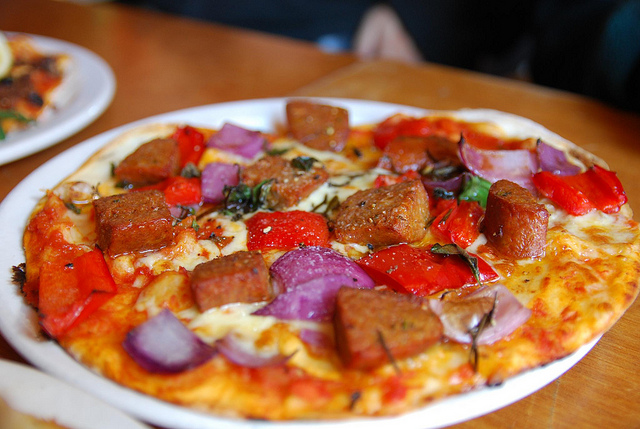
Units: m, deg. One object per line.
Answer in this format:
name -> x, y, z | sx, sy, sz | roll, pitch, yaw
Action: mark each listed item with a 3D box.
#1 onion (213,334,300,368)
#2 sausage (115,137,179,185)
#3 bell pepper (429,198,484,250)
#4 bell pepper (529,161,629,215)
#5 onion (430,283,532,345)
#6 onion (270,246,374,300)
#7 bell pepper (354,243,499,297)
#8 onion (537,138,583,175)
onion -> -0.263, 0.532, 2.207 | 0.204, 0.063, 0.141 | 31, 29, 7
sausage -> -0.818, -0.271, 2.837 | 0.184, 0.187, 0.326 | 6, 21, 28
bell pepper -> 0.628, 0.016, 2.635 | 0.197, 0.090, 0.227 | 15, 40, 30
bell pepper -> 1.201, -0.151, 2.656 | 0.284, 0.111, 0.269 | -12, 36, -30
onion -> 0.643, 0.380, 2.301 | 0.378, 0.077, 0.272 | -19, 54, -25
onion -> 0.007, 0.256, 2.410 | 0.426, 0.152, 0.250 | -4, 56, -6
bell pepper -> 0.465, 0.199, 2.421 | 0.391, 0.098, 0.257 | -1, 30, -21
onion -> 1.133, -0.265, 2.808 | 0.204, 0.065, 0.144 | 19, 54, 19
